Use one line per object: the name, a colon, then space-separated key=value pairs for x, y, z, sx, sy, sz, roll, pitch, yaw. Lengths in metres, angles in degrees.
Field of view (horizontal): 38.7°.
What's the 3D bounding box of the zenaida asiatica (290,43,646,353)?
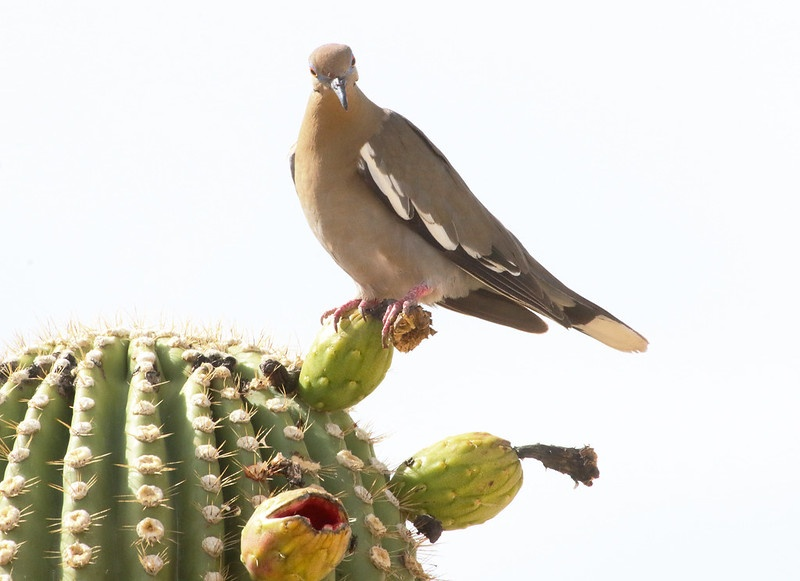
zenaida asiatica: x=0.374 y=-0.417 z=5.977 sx=1.810 sy=1.256 sz=0.783 roll=8 pitch=-4 yaw=-27
